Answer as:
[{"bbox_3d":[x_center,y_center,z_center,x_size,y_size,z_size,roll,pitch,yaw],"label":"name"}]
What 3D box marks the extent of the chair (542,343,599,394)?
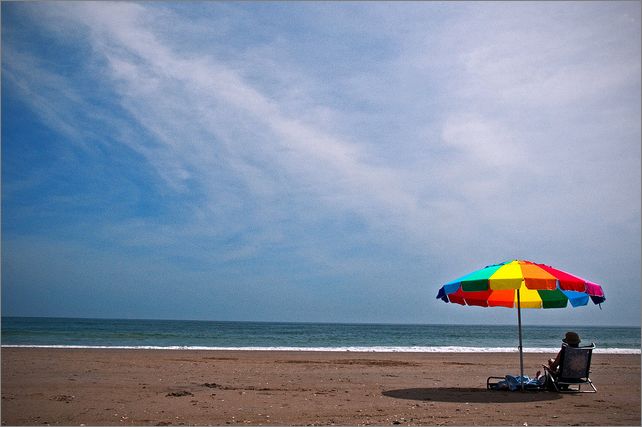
[{"bbox_3d":[11.232,7.063,32.837,2.085,1.998,2.992,5,-15,-11],"label":"chair"}]
